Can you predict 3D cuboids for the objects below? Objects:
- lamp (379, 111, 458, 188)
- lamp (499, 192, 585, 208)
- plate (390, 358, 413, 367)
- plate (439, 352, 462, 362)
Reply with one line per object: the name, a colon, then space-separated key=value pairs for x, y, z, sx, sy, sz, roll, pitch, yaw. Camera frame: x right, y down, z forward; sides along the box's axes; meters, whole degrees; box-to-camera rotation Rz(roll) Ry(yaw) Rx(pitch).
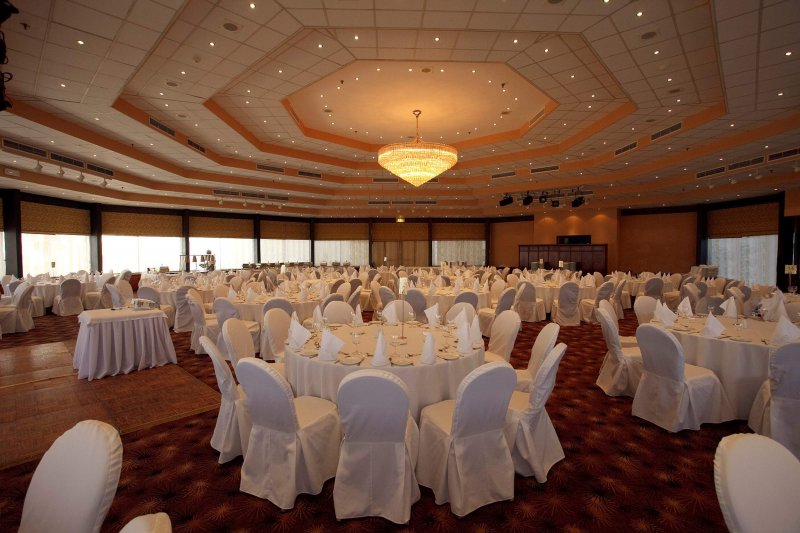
lamp: x=0.407 y=-2.877 z=11.221 sx=1.998 sy=2.000 sz=2.125 roll=0 pitch=0 yaw=0
lamp: x=5.658 y=-2.651 z=18.340 sx=2.453 sy=0.462 sz=0.581 roll=-3 pitch=-10 yaw=-10
plate: x=0.017 y=1.141 z=5.557 sx=0.273 sy=0.074 sz=0.192 roll=-1 pitch=-1 yaw=0
plate: x=0.594 y=1.110 z=5.688 sx=0.178 sy=0.059 sz=0.110 roll=-4 pitch=-2 yaw=33
